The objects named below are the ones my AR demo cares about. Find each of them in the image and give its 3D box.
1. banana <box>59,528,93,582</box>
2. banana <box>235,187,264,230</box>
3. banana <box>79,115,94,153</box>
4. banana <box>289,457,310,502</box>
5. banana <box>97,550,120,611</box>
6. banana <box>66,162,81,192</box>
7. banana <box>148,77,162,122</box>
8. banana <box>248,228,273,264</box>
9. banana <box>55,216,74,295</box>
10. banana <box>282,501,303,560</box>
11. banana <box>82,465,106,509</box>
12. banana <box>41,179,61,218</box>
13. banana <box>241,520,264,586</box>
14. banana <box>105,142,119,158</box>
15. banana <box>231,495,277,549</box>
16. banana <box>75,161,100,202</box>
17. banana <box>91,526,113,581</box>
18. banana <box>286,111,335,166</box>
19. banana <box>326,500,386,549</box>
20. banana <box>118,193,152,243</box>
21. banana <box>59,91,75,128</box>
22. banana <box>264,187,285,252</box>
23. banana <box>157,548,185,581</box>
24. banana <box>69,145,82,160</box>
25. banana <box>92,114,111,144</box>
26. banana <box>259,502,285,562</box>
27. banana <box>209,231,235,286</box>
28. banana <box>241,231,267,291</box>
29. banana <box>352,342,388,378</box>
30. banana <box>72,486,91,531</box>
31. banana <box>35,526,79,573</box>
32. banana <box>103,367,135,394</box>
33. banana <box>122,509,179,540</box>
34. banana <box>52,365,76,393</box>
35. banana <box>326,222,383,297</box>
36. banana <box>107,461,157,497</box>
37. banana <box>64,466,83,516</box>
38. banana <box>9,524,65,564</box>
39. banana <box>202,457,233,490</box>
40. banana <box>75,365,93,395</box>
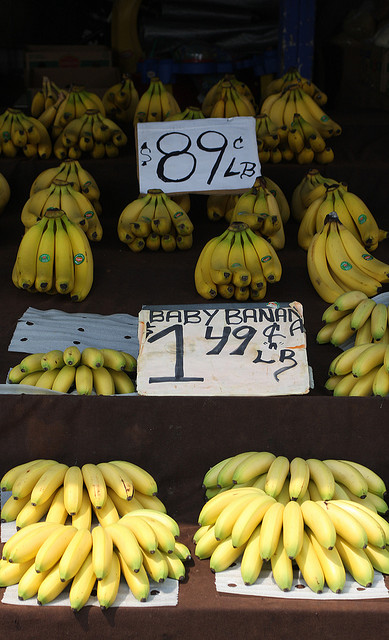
[{"bbox_3d":[-0.252,0.491,1.049,0.041,0.042,0.145,20,14,1],"label":"banana"},{"bbox_3d":[0.246,-0.517,2.374,0.169,0.082,0.260,-21,30,10],"label":"banana"},{"bbox_3d":[-0.594,-1.032,2.803,0.061,0.199,0.125,6,-7,-3],"label":"banana"},{"bbox_3d":[0.244,0.380,1.195,0.031,0.040,0.119,-15,7,8],"label":"banana"},{"bbox_3d":[-0.174,0.536,1.022,0.026,0.095,0.030,-12,-10,30],"label":"banana"},{"bbox_3d":[-0.636,-0.752,2.647,0.049,0.189,0.064,-16,-13,5],"label":"banana"},{"bbox_3d":[-0.233,-1.311,2.970,0.071,0.231,0.120,11,27,20],"label":"banana"},{"bbox_3d":[0.293,-0.299,2.187,0.057,0.198,0.077,-33,-4,14],"label":"banana"},{"bbox_3d":[-0.552,-0.288,2.214,0.064,0.309,0.099,-3,0,-2],"label":"banana"},{"bbox_3d":[0.206,0.440,1.062,0.032,0.037,0.124,47,23,-8],"label":"banana"},{"bbox_3d":[-0.250,0.417,1.249,0.049,0.047,0.150,-7,29,-21],"label":"banana"},{"bbox_3d":[-0.708,-0.613,2.489,0.101,0.137,0.106,-6,27,-14],"label":"banana"},{"bbox_3d":[0.127,0.505,1.094,0.032,0.041,0.125,8,66,13],"label":"banana"},{"bbox_3d":[-0.475,-0.965,2.848,0.058,0.084,0.029,-7,4,-6],"label":"banana"},{"bbox_3d":[0.142,0.426,1.125,0.043,0.058,0.172,8,22,26],"label":"banana"},{"bbox_3d":[-0.566,-0.720,2.693,0.079,0.097,0.275,-29,67,-2],"label":"banana"},{"bbox_3d":[-0.187,0.486,1.047,0.029,0.036,0.109,-8,21,0],"label":"banana"},{"bbox_3d":[0.606,-1.043,2.775,0.153,0.172,0.271,9,-6,44],"label":"banana"},{"bbox_3d":[0.351,0.455,1.106,0.049,0.040,0.145,23,12,-29],"label":"banana"},{"bbox_3d":[-0.298,-0.512,2.535,0.177,0.084,0.274,-22,35,55],"label":"banana"},{"bbox_3d":[-0.735,-1.233,2.937,0.058,0.073,0.218,17,67,8],"label":"banana"},{"bbox_3d":[0.396,-0.480,2.485,0.080,0.325,0.126,-9,0,7],"label":"banana"},{"bbox_3d":[-0.051,0.540,1.104,0.025,0.023,0.078,5,24,-33],"label":"banana"},{"bbox_3d":[-0.679,-0.951,2.848,0.070,0.054,0.097,2,41,-16],"label":"banana"},{"bbox_3d":[-0.510,-1.043,2.761,0.077,0.147,0.089,-12,-10,-12],"label":"banana"},{"bbox_3d":[0.167,0.440,1.076,0.039,0.041,0.143,44,35,-2],"label":"banana"},{"bbox_3d":[0.137,-0.262,2.167,0.139,0.067,0.224,-23,47,34],"label":"banana"},{"bbox_3d":[0.241,-0.246,2.176,0.067,0.255,0.089,-14,-7,-14],"label":"banana"},{"bbox_3d":[0.577,0.112,1.652,0.063,0.058,0.196,41,44,23],"label":"banana"},{"bbox_3d":[-0.271,0.469,1.232,0.029,0.112,0.036,-6,2,14],"label":"banana"},{"bbox_3d":[-0.303,0.491,1.066,0.047,0.049,0.161,17,5,6],"label":"banana"},{"bbox_3d":[-0.270,0.197,1.830,0.047,0.060,0.172,-33,44,-15],"label":"banana"},{"bbox_3d":[-0.104,0.490,1.217,0.123,0.072,0.035,14,-2,9],"label":"banana"},{"bbox_3d":[-0.434,0.197,1.687,0.045,0.035,0.099,15,38,4],"label":"banana"},{"bbox_3d":[0.686,-0.261,2.190,0.082,0.158,0.352,-21,67,-2],"label":"banana"},{"bbox_3d":[-0.170,0.421,1.323,0.131,0.038,0.044,32,24,14],"label":"banana"},{"bbox_3d":[-0.291,0.412,1.216,0.037,0.038,0.124,11,15,-14],"label":"banana"},{"bbox_3d":[-0.346,0.486,1.128,0.036,0.048,0.141,9,11,33],"label":"banana"},{"bbox_3d":[0.072,0.407,1.400,0.042,0.037,0.132,25,44,35],"label":"banana"},{"bbox_3d":[-0.364,0.197,1.661,0.044,0.034,0.097,-34,27,8],"label":"banana"}]
